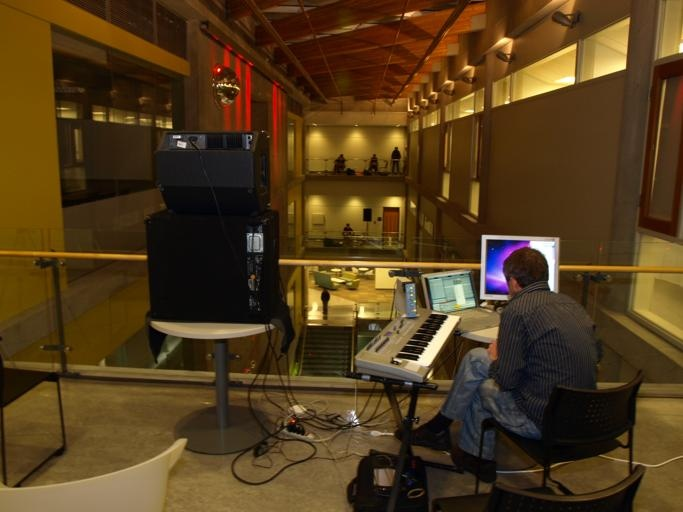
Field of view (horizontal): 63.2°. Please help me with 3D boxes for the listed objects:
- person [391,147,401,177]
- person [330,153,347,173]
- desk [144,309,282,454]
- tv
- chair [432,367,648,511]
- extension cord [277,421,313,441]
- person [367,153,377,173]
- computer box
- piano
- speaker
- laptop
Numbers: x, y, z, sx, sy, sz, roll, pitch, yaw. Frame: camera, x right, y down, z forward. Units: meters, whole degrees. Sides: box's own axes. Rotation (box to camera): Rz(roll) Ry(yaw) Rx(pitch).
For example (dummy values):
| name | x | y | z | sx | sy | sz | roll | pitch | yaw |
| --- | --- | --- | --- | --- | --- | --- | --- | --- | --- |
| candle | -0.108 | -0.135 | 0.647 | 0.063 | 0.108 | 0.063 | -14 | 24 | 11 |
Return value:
| name | x | y | z | sx | sy | sz | roll | pitch | yaw |
| --- | --- | --- | --- | --- | --- | --- | --- | --- | --- |
| person | 2.711 | -4.737 | 27.503 | 0.474 | 1.317 | 1.174 | 1 | 6 | 5 |
| person | -0.097 | -4.476 | 26.949 | 0.598 | 0.999 | 1.091 | 0 | 6 | -1 |
| desk | -0.816 | 0.876 | 3.960 | 0.917 | 0.679 | 0.902 | -7 | 11 | -38 |
| tv | 1.237 | 0.082 | 3.857 | 0.489 | 0.428 | 0.044 | 1 | 3 | 8 |
| chair | 1.081 | 0.929 | 3.387 | 0.951 | 1.019 | 0.958 | -3 | 7 | -23 |
| extension cord | -0.329 | 1.303 | 4.094 | 0.305 | 0.120 | 0.093 | 4 | 6 | 21 |
| person | 1.531 | -4.490 | 27.037 | 0.457 | 0.993 | 1.065 | 1 | 6 | 6 |
| computer box | -0.854 | 0.061 | 3.861 | 0.868 | 0.730 | 0.463 | 1 | 8 | 7 |
| piano | 0.404 | 0.558 | 3.448 | 0.358 | 0.135 | 0.813 | 1 | 10 | 22 |
| speaker | -0.820 | -0.527 | 3.591 | 0.707 | 0.557 | 0.488 | 1 | 10 | 6 |
| laptop | 0.867 | 0.308 | 4.156 | 0.449 | 0.479 | 0.293 | -1 | 0 | -22 |
